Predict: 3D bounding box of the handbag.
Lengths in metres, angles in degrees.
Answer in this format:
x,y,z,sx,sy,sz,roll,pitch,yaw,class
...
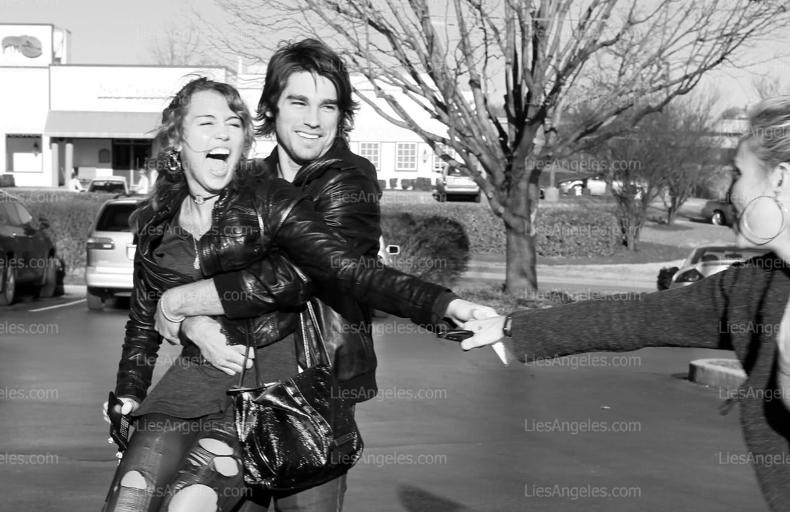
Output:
x,y,z,sx,sy,sz,roll,pitch,yaw,class
-0.451,0.847,4.100,0.348,0.560,0.668,-10,4,42,handbag

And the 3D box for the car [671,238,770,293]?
x,y,z,sx,sy,sz,roll,pitch,yaw,class
4.873,0.119,13.273,1.398,0.929,2.988,1,7,11,car

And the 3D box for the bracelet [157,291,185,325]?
x,y,z,sx,sy,sz,roll,pitch,yaw,class
-1.105,0.263,4.254,0.167,0.144,0.045,-1,-2,23,bracelet

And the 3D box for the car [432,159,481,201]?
x,y,z,sx,sy,sz,roll,pitch,yaw,class
2.705,-3.172,37.583,1.715,1.375,3.086,0,9,-5,car
